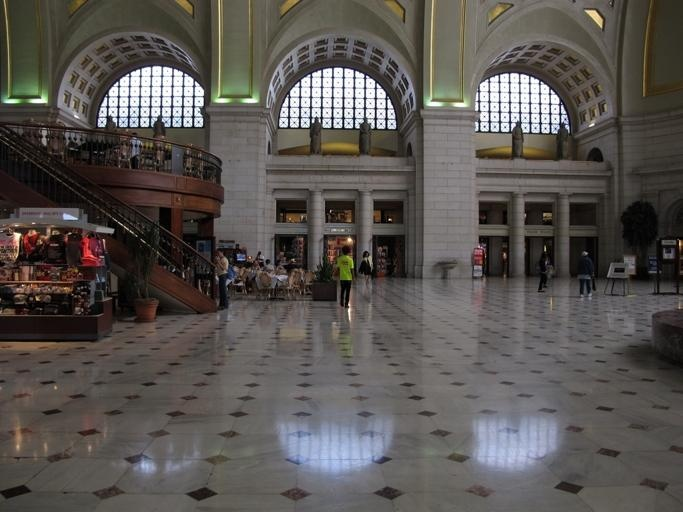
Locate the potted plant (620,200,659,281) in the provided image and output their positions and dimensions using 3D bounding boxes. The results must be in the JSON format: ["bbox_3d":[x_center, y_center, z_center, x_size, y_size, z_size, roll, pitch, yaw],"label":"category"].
[{"bbox_3d":[15.397,-1.054,28.029,1.677,3.772,1.267,-1,-2,32],"label":"potted plant"}]

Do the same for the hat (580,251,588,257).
[{"bbox_3d":[9.832,-0.098,22.058,0.300,0.153,0.430,-1,-3,11],"label":"hat"}]

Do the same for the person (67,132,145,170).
[{"bbox_3d":[-6.242,-2.818,14.278,1.693,0.699,1.415,3,1,5],"label":"person"}]

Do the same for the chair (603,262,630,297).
[{"bbox_3d":[9.149,0.622,18.129,0.815,1.335,0.909,-1,9,13],"label":"chair"}]

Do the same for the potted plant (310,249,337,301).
[{"bbox_3d":[-0.510,0.645,15.655,0.733,1.324,0.695,0,-2,15],"label":"potted plant"}]

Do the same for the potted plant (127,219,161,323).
[{"bbox_3d":[-4.268,0.317,11.711,0.583,2.173,0.773,1,-2,-21],"label":"potted plant"}]
